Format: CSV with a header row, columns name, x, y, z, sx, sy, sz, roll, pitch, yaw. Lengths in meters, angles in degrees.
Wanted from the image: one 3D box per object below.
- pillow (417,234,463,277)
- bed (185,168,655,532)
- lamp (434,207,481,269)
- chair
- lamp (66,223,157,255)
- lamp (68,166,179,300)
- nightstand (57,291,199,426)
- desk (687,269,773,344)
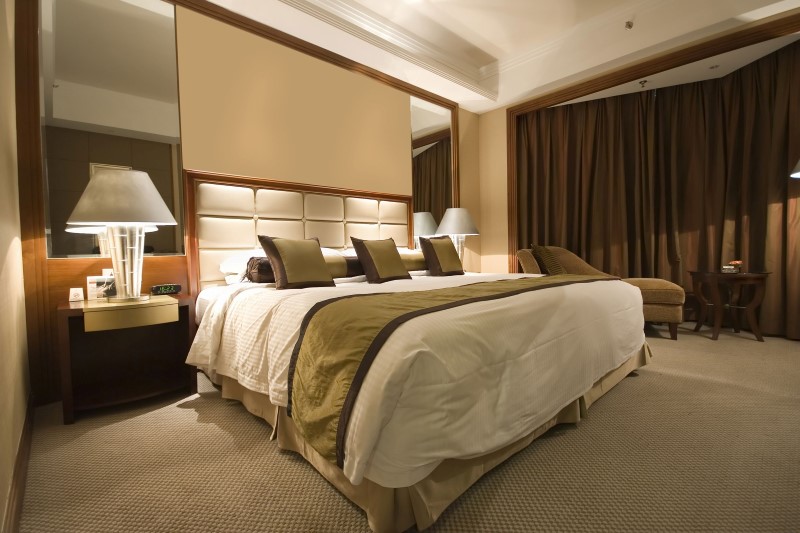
name,x,y,z,sx,sy,sz,roll,pitch,yaw
pillow,0.478,-0.101,5.486,0.256,0.514,0.513,-8,-3,38
bed,-0.191,0.648,3.774,2.055,1.252,2.168,2,4,43
lamp,0.672,-0.360,6.376,0.608,1.123,0.648,-1,5,13
chair,2.374,0.333,6.063,1.659,1.166,1.017,-3,-1,27
lamp,-2.564,-0.266,4.340,0.374,0.299,0.390,4,6,33
lamp,-2.286,-0.253,4.608,0.935,1.295,1.007,0,5,16
nightstand,-2.241,0.757,4.250,0.928,0.942,0.538,-1,1,-36
desk,3.758,0.428,5.851,0.704,0.771,0.972,-2,2,31
